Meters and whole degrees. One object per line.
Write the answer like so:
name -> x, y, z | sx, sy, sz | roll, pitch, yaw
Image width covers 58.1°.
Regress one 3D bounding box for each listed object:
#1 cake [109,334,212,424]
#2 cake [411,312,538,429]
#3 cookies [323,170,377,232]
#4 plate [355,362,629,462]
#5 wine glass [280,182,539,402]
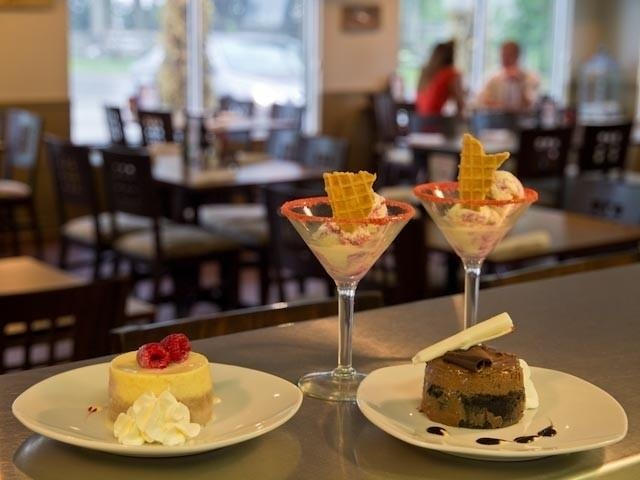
cake -> -0.176, 0.147, 0.672 | 0.102, 0.073, 0.101 | 2, 8, 11
cake -> 0.183, 0.150, 0.722 | 0.130, 0.112, 0.117 | -3, 5, -36
cookies -> 0.036, -0.045, 0.699 | 0.085, 0.089, 0.012 | -3, 9, -5
plate -> 0.192, 0.193, 0.672 | 0.297, 0.033, 0.228 | -3, 9, -10
wine glass -> 0.095, 0.033, 0.859 | 0.306, 0.339, 0.297 | 2, 12, -1
